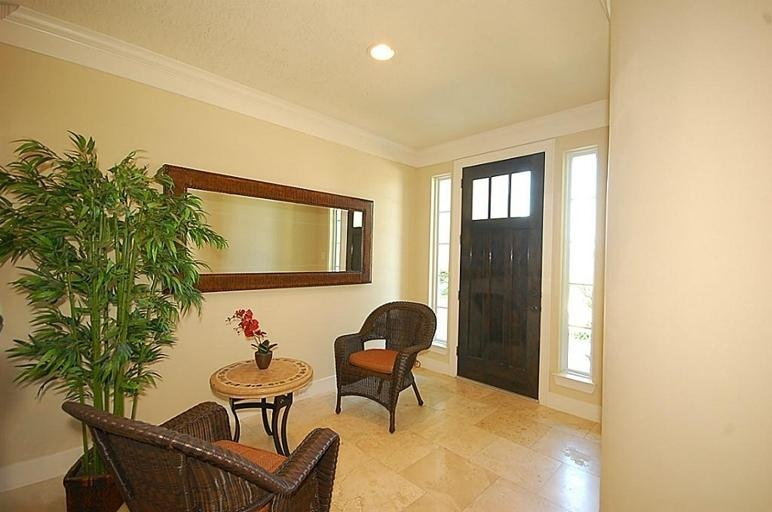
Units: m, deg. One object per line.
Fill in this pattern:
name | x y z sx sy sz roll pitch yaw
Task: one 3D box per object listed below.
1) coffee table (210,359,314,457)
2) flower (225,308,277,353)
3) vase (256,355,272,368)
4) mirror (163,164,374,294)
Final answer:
coffee table | -0.861 0.965 3.653 0.745 0.640 0.720 0 -2 -1
flower | -0.956 0.576 3.638 0.238 0.285 0.172 -13 12 -19
vase | -0.882 0.759 3.599 0.102 0.080 0.100 7 -10 -26
mirror | -0.854 -0.165 4.449 2.007 0.971 0.068 3 -5 -43
